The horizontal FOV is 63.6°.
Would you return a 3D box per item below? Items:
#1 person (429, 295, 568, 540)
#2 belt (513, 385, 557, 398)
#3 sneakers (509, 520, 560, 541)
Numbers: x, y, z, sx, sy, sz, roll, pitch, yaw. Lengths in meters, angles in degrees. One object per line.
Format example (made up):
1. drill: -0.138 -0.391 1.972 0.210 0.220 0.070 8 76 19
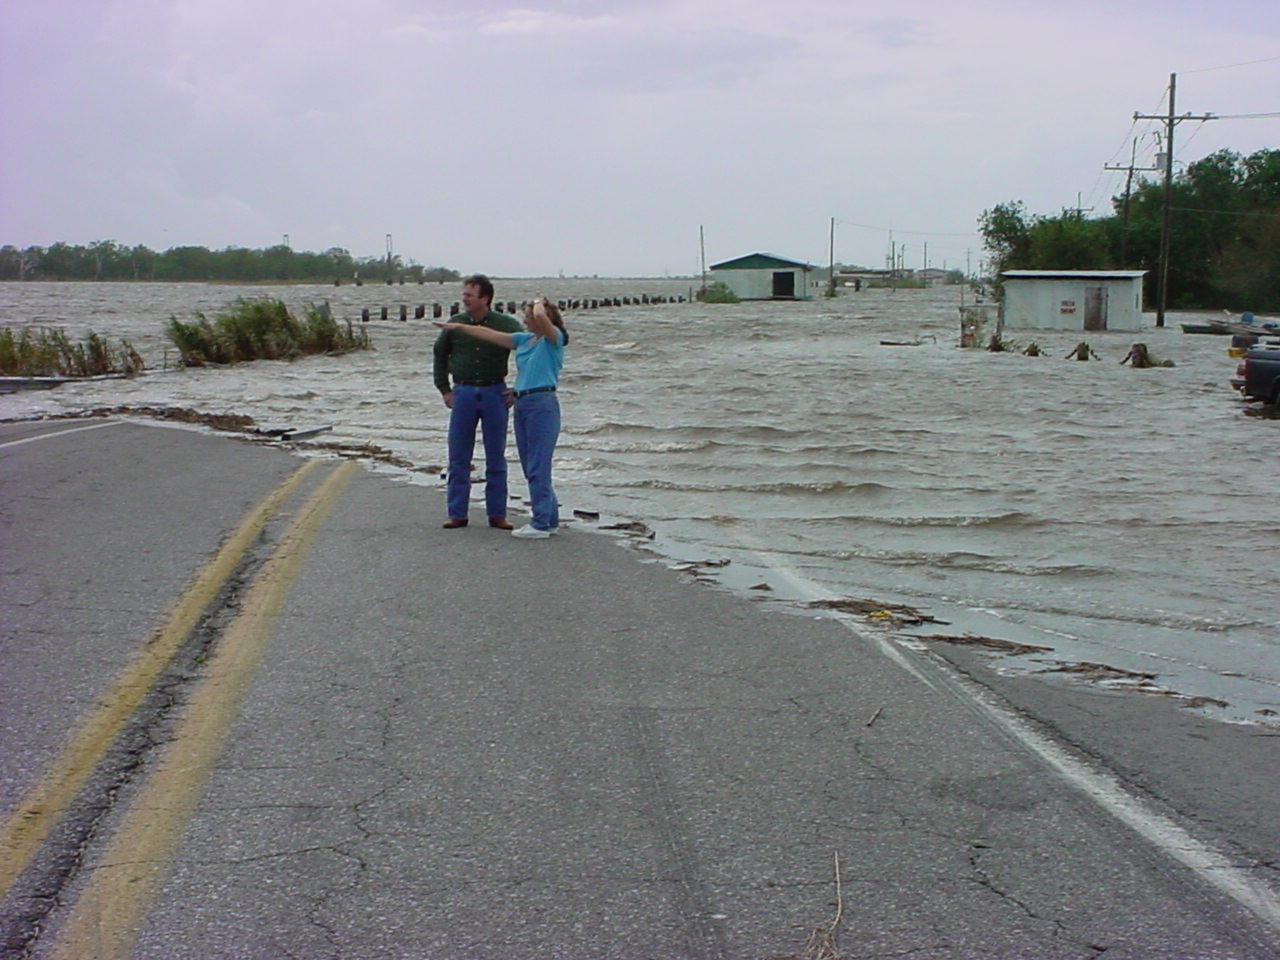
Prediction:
1. person: -1.085 -0.604 9.930 0.826 2.256 1.391 -3 14 -3
2. belt: -0.966 -0.795 9.361 0.389 0.143 0.191 1 12 8
3. sneakers: -0.998 0.487 9.633 0.493 0.136 0.136 3 0 -8
